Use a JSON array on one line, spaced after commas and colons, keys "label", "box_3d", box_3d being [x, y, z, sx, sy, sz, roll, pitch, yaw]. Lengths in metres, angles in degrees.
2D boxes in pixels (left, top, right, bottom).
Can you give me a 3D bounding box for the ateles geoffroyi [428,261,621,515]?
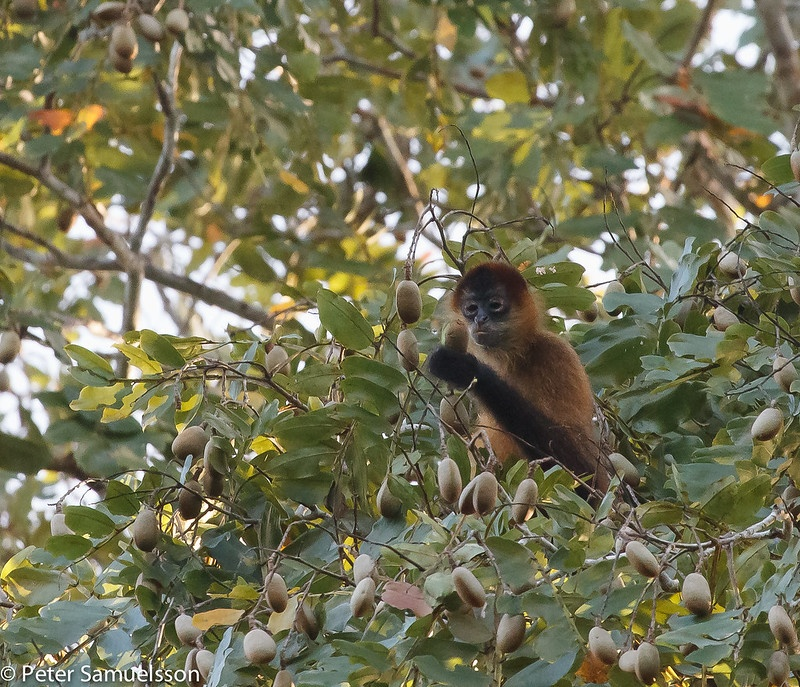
[{"label": "ateles geoffroyi", "box_3d": [0.302, 0.116, 3.574, 0.367, 0.624, 0.389, 2, 8, 28]}]
